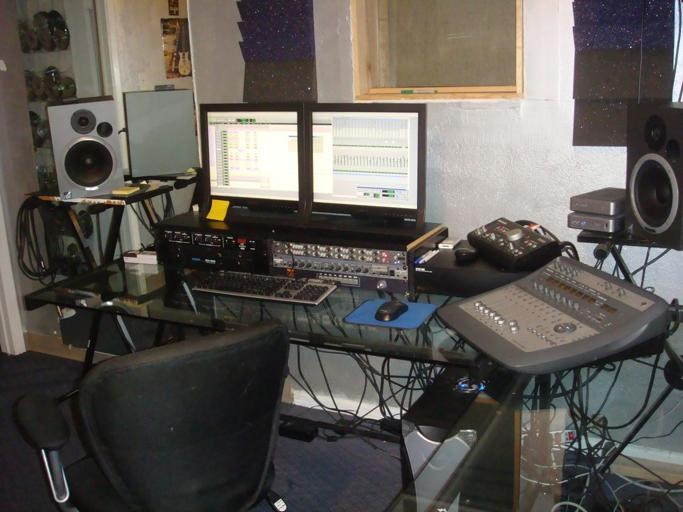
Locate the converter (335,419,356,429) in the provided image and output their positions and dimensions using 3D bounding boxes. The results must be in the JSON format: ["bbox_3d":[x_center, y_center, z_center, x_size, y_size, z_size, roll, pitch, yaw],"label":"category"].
[{"bbox_3d":[0.020,0.796,2.681,0.061,0.014,0.054,1,3,-28],"label":"converter"}]

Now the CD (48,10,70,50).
[{"bbox_3d":[-1.508,-1.198,3.015,0.104,0.178,0.047,-12,17,6],"label":"CD"}]

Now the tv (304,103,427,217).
[{"bbox_3d":[0.108,-0.388,2.208,0.471,0.383,0.048,5,14,18],"label":"tv"}]

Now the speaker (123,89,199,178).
[{"bbox_3d":[-1.059,-0.745,3.224,0.374,0.475,0.270,-16,39,-30],"label":"speaker"}]

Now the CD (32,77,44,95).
[{"bbox_3d":[-1.678,-0.935,3.119,0.090,0.081,0.022,-9,5,31],"label":"CD"}]

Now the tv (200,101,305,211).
[{"bbox_3d":[-0.361,-0.424,2.374,0.483,0.376,0.051,6,12,21],"label":"tv"}]

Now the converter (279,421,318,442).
[{"bbox_3d":[-0.205,0.827,2.653,0.174,0.038,0.081,5,21,19],"label":"converter"}]
